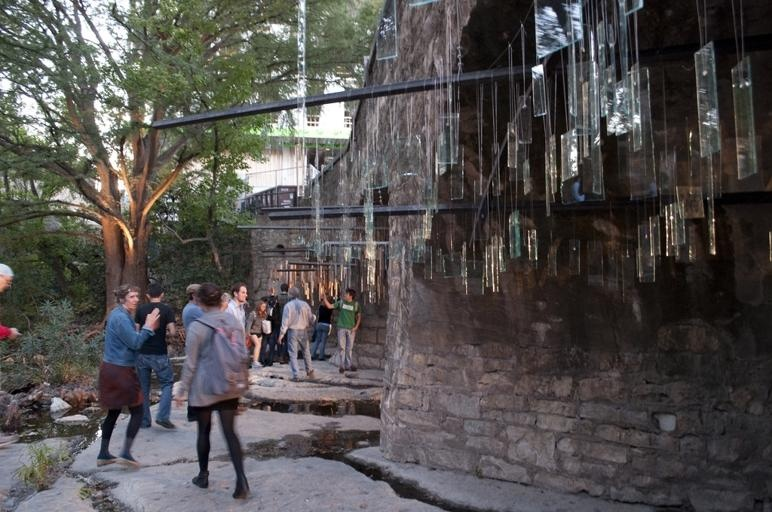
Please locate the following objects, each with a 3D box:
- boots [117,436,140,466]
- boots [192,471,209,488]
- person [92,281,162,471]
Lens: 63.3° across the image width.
[{"bbox_3d":[-3.159,2.501,7.864,0.174,0.399,0.392,-2,-23,13],"label":"boots"},{"bbox_3d":[-2.155,2.639,7.308,0.103,0.188,0.249,1,6,-35],"label":"boots"},{"bbox_3d":[-3.329,1.531,8.083,0.764,2.299,0.660,-1,3,-27],"label":"person"}]
